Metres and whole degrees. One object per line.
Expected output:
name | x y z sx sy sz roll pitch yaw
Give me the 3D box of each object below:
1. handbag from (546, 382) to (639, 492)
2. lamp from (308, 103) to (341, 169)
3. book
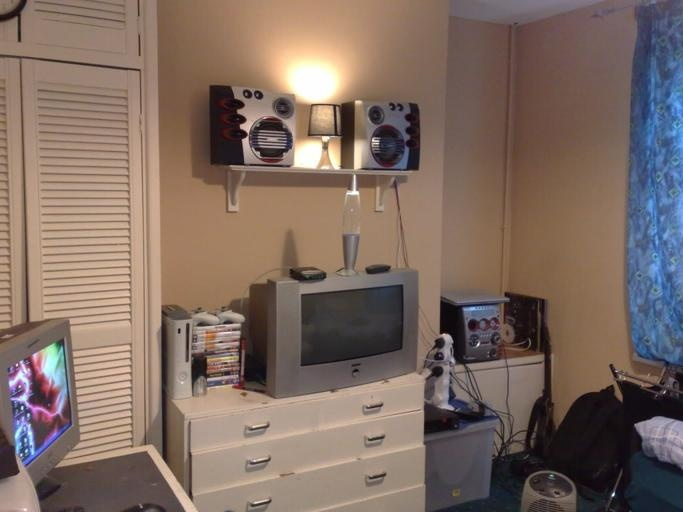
handbag | 1.424 1.030 3.344 0.389 0.604 0.308 30 -15 -17
lamp | -0.089 -0.641 3.245 0.174 0.346 0.236 -3 5 5
book | -0.592 0.445 2.904 0.325 0.354 0.250 0 1 -16
